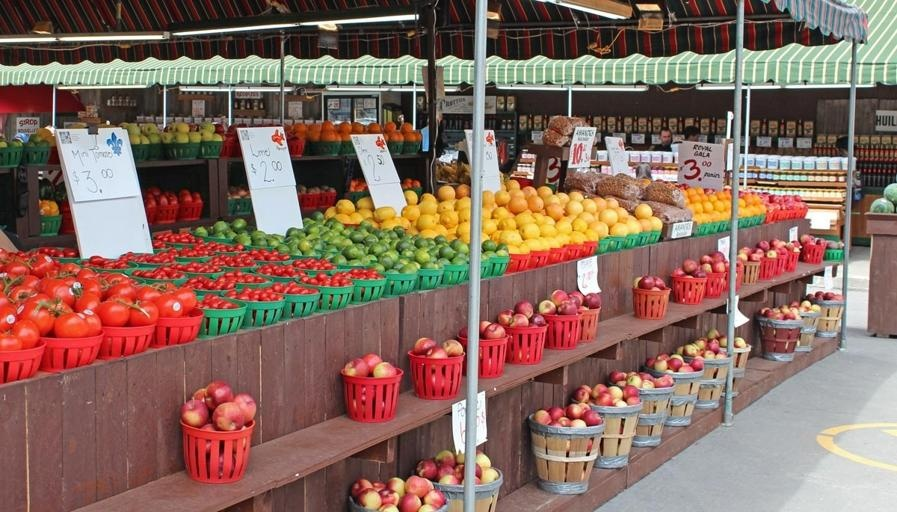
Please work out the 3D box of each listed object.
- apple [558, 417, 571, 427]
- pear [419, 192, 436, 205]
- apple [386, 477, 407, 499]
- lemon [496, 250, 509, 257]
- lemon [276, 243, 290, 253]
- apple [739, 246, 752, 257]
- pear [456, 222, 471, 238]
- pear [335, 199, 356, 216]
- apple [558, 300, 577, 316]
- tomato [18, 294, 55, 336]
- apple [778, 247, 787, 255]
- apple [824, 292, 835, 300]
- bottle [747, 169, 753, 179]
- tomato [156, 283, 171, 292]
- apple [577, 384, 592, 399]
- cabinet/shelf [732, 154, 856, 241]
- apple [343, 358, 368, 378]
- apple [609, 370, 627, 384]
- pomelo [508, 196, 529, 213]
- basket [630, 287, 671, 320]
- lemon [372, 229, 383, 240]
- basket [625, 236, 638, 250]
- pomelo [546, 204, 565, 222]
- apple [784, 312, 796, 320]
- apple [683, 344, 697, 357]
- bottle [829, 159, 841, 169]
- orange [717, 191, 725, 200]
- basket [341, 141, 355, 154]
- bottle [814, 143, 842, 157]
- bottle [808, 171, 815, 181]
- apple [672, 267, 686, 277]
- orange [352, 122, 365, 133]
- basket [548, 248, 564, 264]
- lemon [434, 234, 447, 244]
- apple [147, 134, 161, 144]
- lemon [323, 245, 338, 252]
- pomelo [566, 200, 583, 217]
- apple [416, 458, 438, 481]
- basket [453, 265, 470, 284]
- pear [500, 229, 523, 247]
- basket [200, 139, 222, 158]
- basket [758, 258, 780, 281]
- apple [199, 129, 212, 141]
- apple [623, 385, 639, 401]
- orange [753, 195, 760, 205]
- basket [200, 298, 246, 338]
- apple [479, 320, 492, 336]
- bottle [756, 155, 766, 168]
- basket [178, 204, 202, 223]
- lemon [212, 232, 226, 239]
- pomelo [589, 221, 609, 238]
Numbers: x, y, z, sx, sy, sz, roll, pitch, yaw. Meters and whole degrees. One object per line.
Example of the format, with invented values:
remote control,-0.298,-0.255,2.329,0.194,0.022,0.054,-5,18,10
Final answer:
apple,0.817,1.173,5.157,0.059,0.059,0.059,1,-9,-20
pear,-0.157,-0.462,5.804,0.118,0.089,0.086,10,-1,-36
apple,-0.309,1.380,4.350,0.099,0.099,0.100,2,-28,26
lemon,0.370,-0.029,5.027,0.048,0.036,0.065,-13,7,-12
lemon,-1.080,-0.048,4.727,0.091,0.056,0.142,-5,14,-9
apple,3.022,-0.053,7.457,0.063,0.079,0.065,24,42,31
pear,0.112,-0.214,5.366,0.095,0.117,0.097,10,-35,-40
pear,-0.828,-0.393,5.815,0.128,0.130,0.120,5,-11,0
apple,0.835,0.366,5.148,0.102,0.105,0.101,3,9,30
tomato,-1.858,0.271,3.285,0.113,0.132,0.106,30,4,39
apple,3.598,-0.060,7.861,0.070,0.048,0.084,-5,5,-34
apple,4.447,0.458,8.522,0.081,0.058,0.102,-1,4,-8
bottle,6.212,-1.702,14.970,0.109,0.194,0.107,0,12,0
tomato,-1.429,0.151,3.664,0.053,0.023,0.054,7,4,7
apple,1.019,1.032,5.525,0.087,0.088,0.093,-26,14,9
cabinet/shelf,6.687,-1.488,14.408,2.871,2.039,2.119,3,5,29
apple,-0.526,0.637,4.182,0.105,0.106,0.106,1,11,-5
apple,1.353,0.971,5.794,0.107,0.128,0.106,-27,-48,33
pomelo,0.583,-0.424,5.891,0.199,0.134,0.117,-12,16,-33
basket,1.659,0.368,5.998,0.260,0.189,0.265,-2,8,-3
lemon,-0.494,-0.153,5.058,0.054,0.040,0.071,2,34,-7
basket,1.541,-0.119,6.184,0.101,0.096,0.117,2,1,-1
pomelo,0.873,-0.365,6.053,0.141,0.113,0.109,15,2,-6
apple,3.643,0.626,7.784,0.079,0.098,0.080,-21,-15,39
apple,2.196,0.864,6.634,0.095,0.095,0.098,6,-18,12
bottle,7.578,-1.835,14.335,0.191,0.184,0.193,9,12,43
orange,2.787,-0.634,7.490,0.093,0.064,0.115,2,19,18
basket,-0.983,-1.051,7.079,0.139,0.107,0.142,-2,4,8
bottle,7.903,-2.231,15.166,0.153,0.296,0.315,-2,2,-44
bottle,7.173,-1.590,14.432,0.115,0.150,0.049,3,8,11
apple,2.043,0.135,6.481,0.079,0.076,0.079,-1,-24,-26
orange,-0.859,-1.247,7.004,0.121,0.129,0.147,2,-1,-6
basket,0.802,-0.005,5.497,0.110,0.084,0.112,1,4,21
lemon,-0.050,-0.107,4.970,0.083,0.063,0.065,-2,37,28
apple,-2.400,-0.954,5.974,0.077,0.082,0.084,-43,-17,22
lemon,-0.771,-0.055,4.825,0.050,0.037,0.064,-5,7,-31
pomelo,1.048,-0.401,6.137,0.116,0.116,0.122,-24,-30,-2
apple,-0.139,1.333,4.541,0.113,0.117,0.113,-22,-17,9
basket,0.074,0.118,4.742,0.111,0.078,0.117,-1,-2,-10
pear,0.456,-0.133,5.295,0.123,0.072,0.129,0,16,-28
basket,-2.012,-0.920,6.156,0.155,0.101,0.157,-2,10,-15
basket,3.373,0.139,7.716,0.221,0.191,0.249,1,0,-2
apple,-2.049,-1.023,6.139,0.079,0.086,0.096,-16,-3,17
apple,1.381,1.035,5.546,0.089,0.093,0.093,1,9,20
orange,3.390,-0.633,8.004,0.066,0.100,0.329,4,15,28
basket,-1.169,0.310,3.739,0.203,0.106,0.201,-2,4,-44
apple,0.237,0.464,4.713,0.075,0.081,0.075,-10,0,0
bottle,6.363,-1.949,14.841,0.217,0.290,0.223,1,1,0
basket,-2.165,-0.365,6.127,0.153,0.089,0.152,-1,3,-31
lemon,-1.581,-0.143,5.022,0.055,0.043,0.069,2,-7,7
pomelo,1.207,-0.215,5.898,0.129,0.131,0.125,6,-1,-6
